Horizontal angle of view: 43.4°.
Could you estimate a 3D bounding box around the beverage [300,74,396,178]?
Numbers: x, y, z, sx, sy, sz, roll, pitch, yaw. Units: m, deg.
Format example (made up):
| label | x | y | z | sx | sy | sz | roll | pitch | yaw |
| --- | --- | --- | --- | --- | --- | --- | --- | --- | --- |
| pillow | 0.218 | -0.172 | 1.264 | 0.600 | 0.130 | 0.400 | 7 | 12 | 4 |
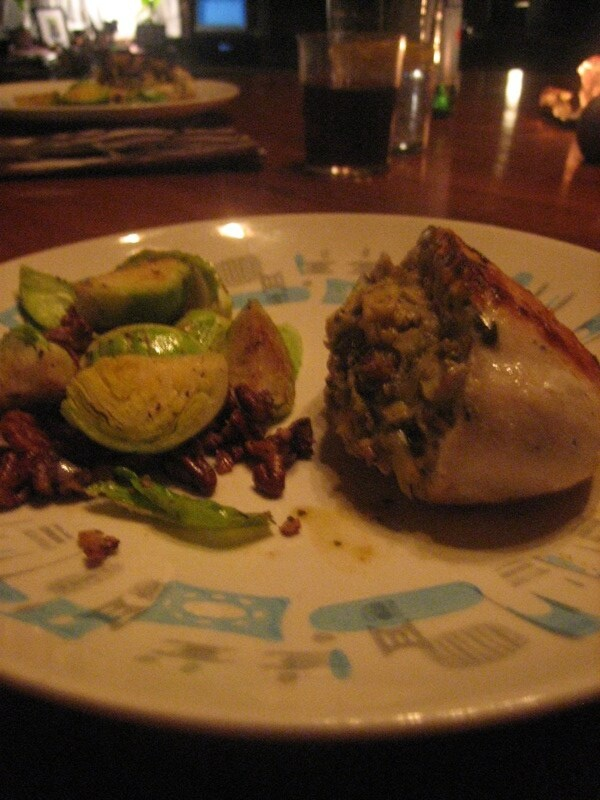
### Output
| label | x | y | z | sx | sy | sz | roll | pitch | yaw |
| --- | --- | --- | --- | --- | --- | --- | --- | --- | --- |
| beverage | 0.089 | -0.493 | 1.367 | 0.209 | 0.129 | 0.174 | 11 | 23 | 28 |
